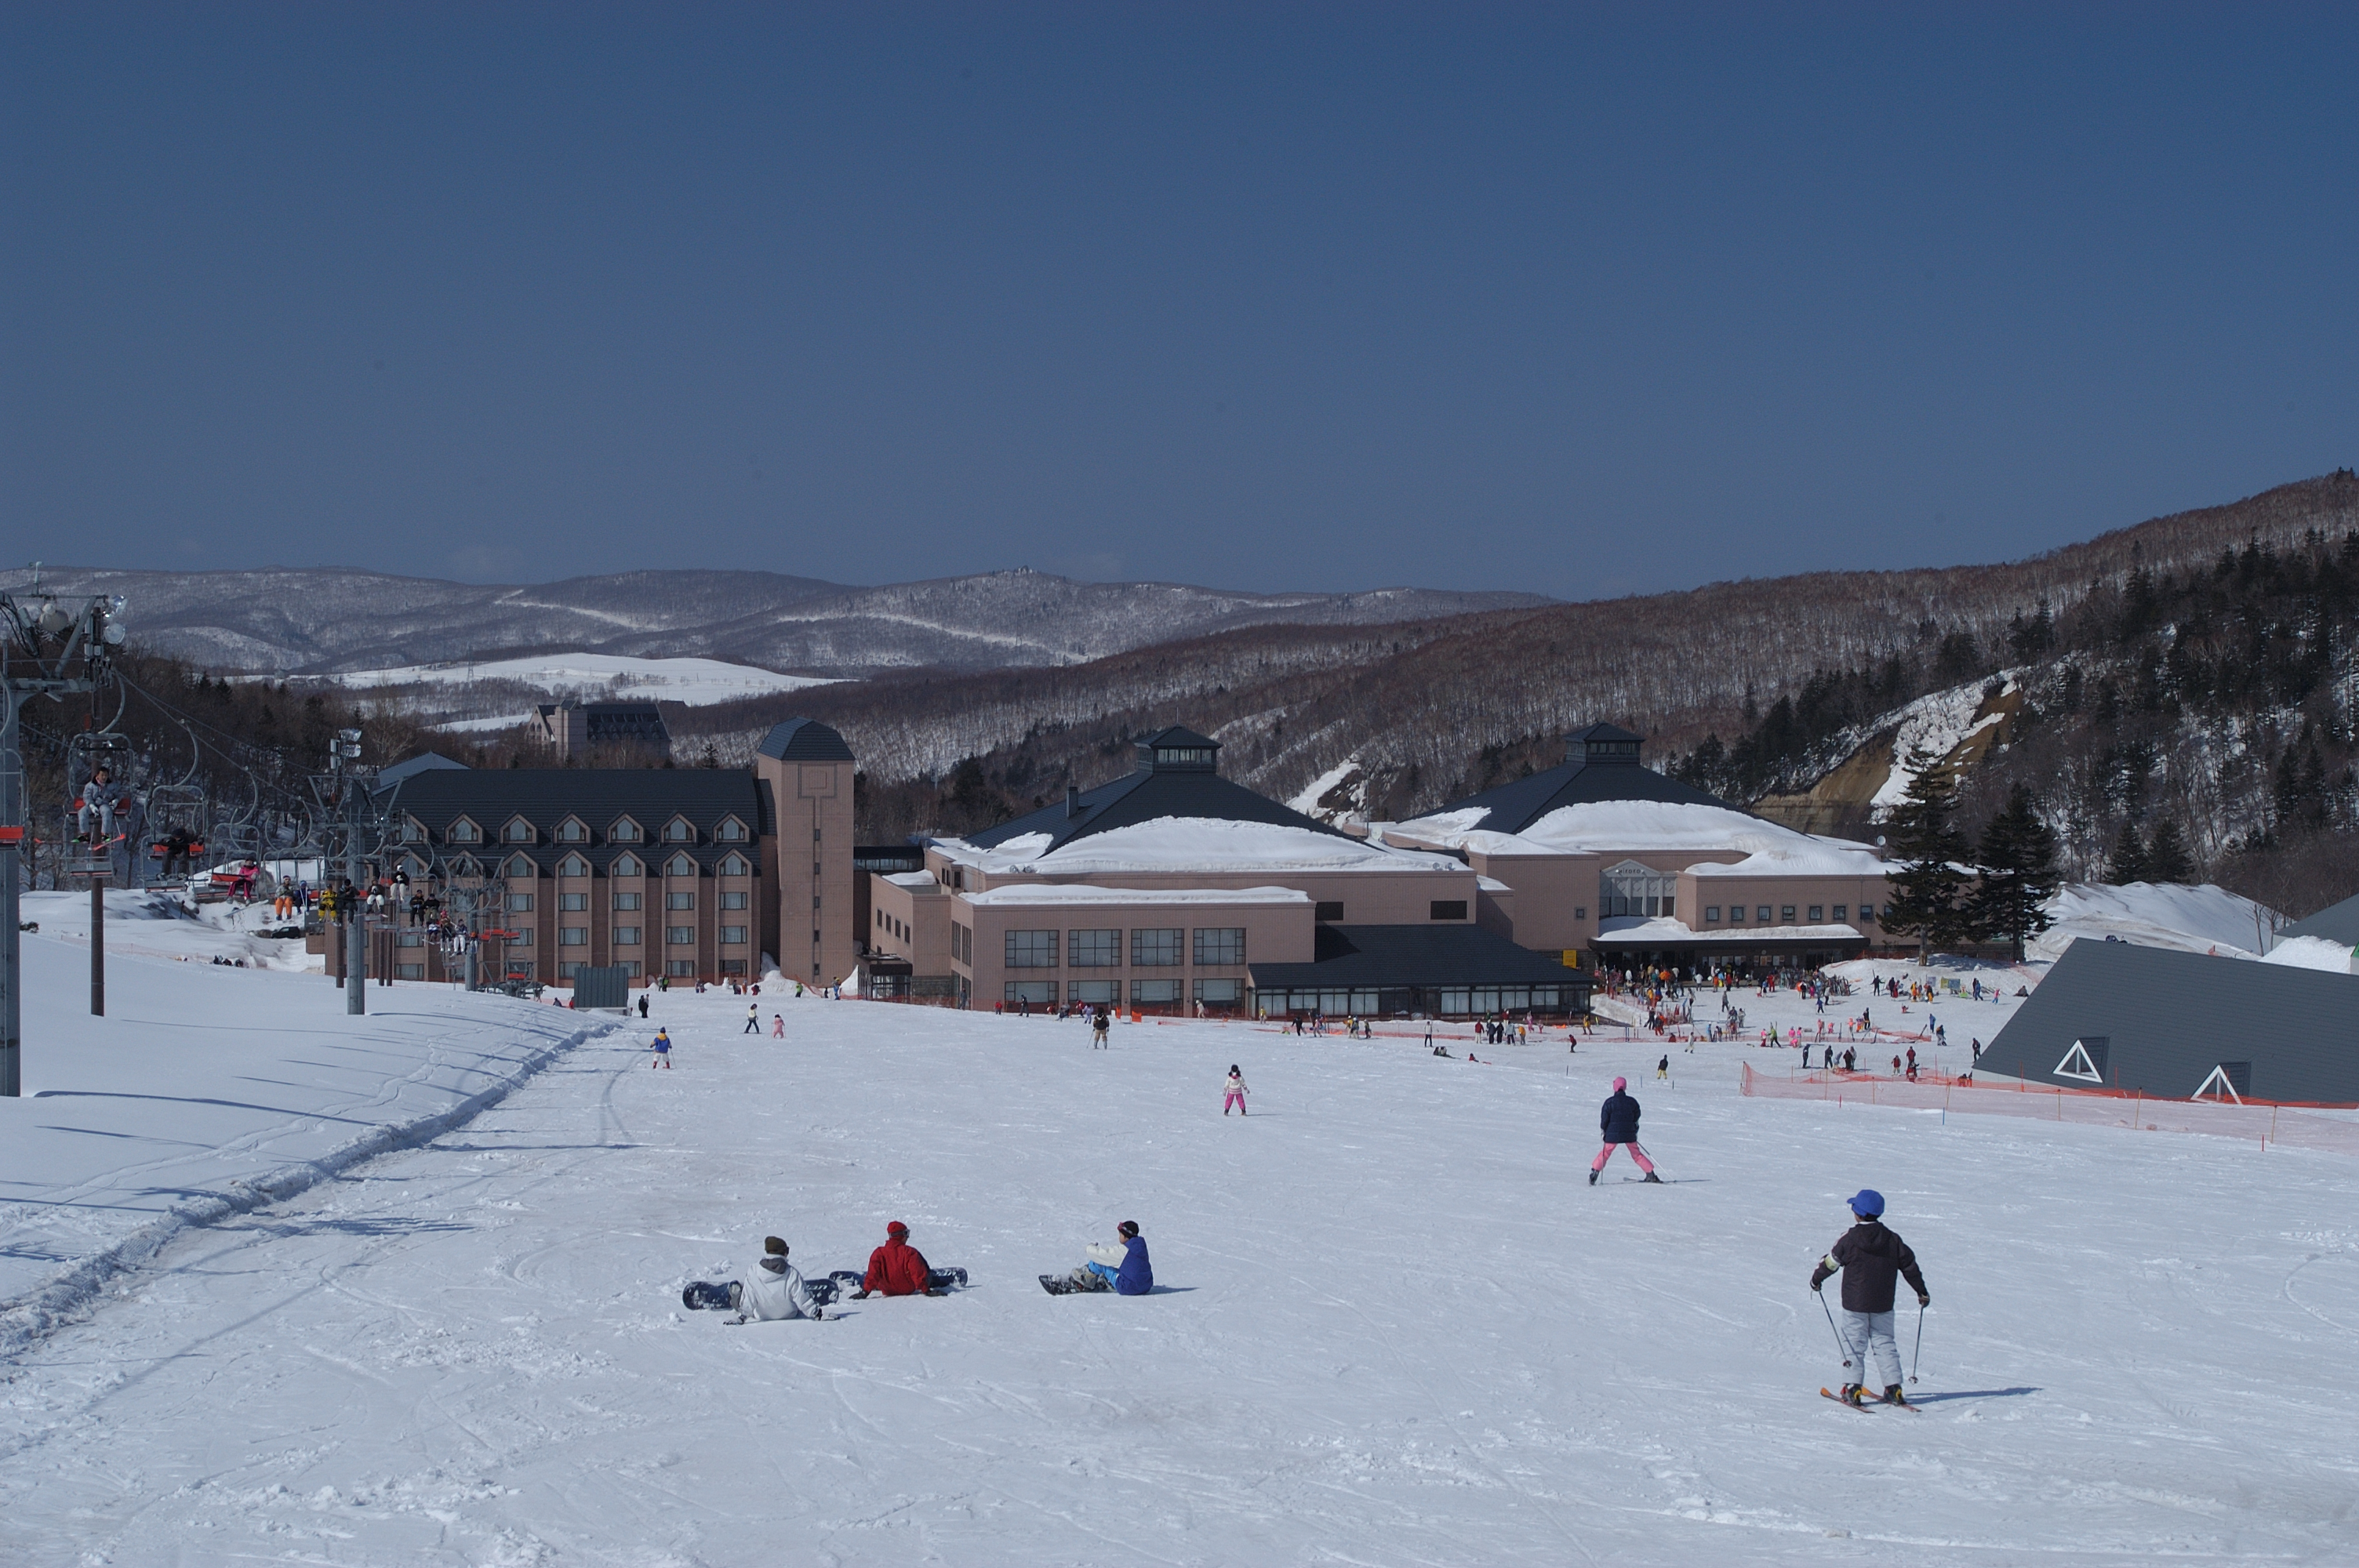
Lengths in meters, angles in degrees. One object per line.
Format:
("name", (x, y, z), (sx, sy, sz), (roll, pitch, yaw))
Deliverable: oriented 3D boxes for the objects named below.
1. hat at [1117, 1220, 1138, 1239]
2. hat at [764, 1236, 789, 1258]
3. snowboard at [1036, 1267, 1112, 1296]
("hat", (-1.109, 9.191, 62.563), (0.365, 0.418, 0.445), (2, 4, 8))
("hat", (-8.129, 9.270, 60.976), (0.505, 0.501, 0.505), (-12, -2, -1))
("snowboard", (-1.993, 10.228, 62.763), (1.073, 0.352, 0.646), (-3, 4, 1))
